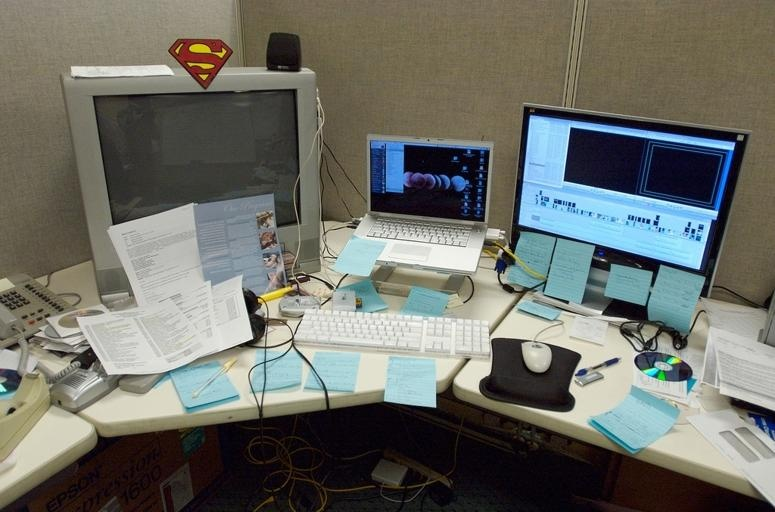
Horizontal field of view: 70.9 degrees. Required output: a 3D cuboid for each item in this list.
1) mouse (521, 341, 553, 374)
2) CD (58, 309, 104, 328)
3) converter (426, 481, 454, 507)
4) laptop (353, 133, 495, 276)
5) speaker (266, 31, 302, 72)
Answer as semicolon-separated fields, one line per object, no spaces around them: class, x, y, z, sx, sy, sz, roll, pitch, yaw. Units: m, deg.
mouse;0.446;0.297;1.633;0.096;0.030;0.116;8;37;6
CD;-0.991;0.193;1.727;0.075;0.007;0.069;12;21;16
converter;0.210;0.921;2.110;0.084;0.026;0.083;22;37;33
laptop;0.182;-0.232;2.126;0.751;0.483;0.544;9;33;12
speaker;-0.354;-0.687;1.844;0.123;0.119;0.119;8;25;14
